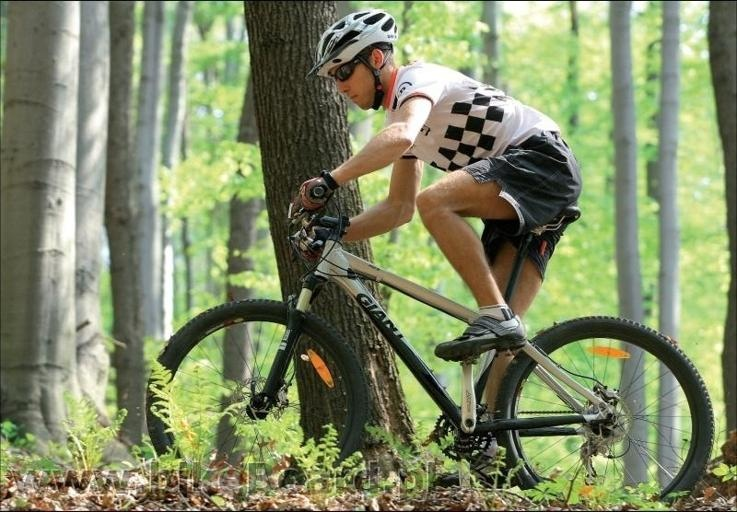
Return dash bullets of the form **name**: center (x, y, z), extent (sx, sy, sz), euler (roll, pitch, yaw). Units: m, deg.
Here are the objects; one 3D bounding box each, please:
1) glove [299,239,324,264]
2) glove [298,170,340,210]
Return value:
- **glove**: center (-0.667, -0.066, 15.375), extent (0.270, 0.248, 0.197), euler (3, -7, 8)
- **glove**: center (-0.563, -0.746, 15.312), extent (0.354, 0.463, 0.206), euler (49, -1, 3)
